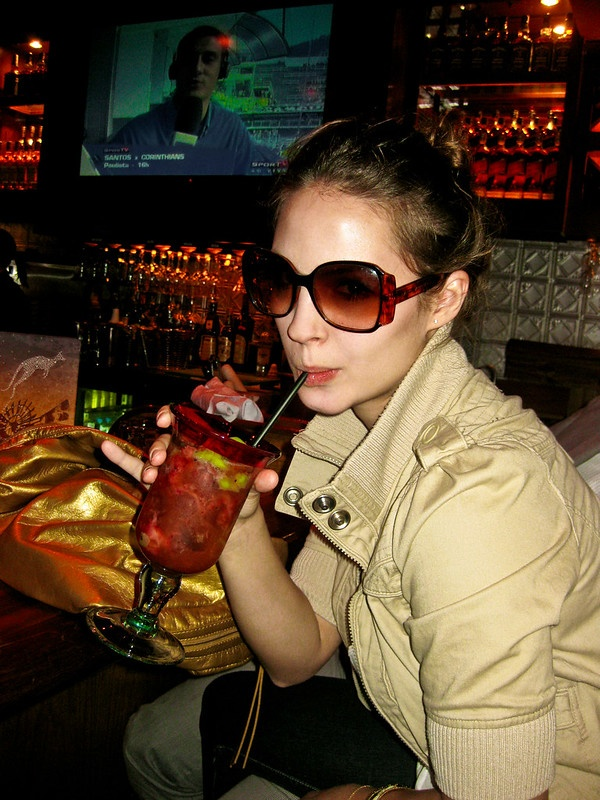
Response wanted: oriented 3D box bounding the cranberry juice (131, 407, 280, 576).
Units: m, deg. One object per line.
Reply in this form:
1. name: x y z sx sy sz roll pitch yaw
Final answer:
1. cranberry juice: -0.122 0.113 0.751 0.146 0.199 0.076 9 11 17
